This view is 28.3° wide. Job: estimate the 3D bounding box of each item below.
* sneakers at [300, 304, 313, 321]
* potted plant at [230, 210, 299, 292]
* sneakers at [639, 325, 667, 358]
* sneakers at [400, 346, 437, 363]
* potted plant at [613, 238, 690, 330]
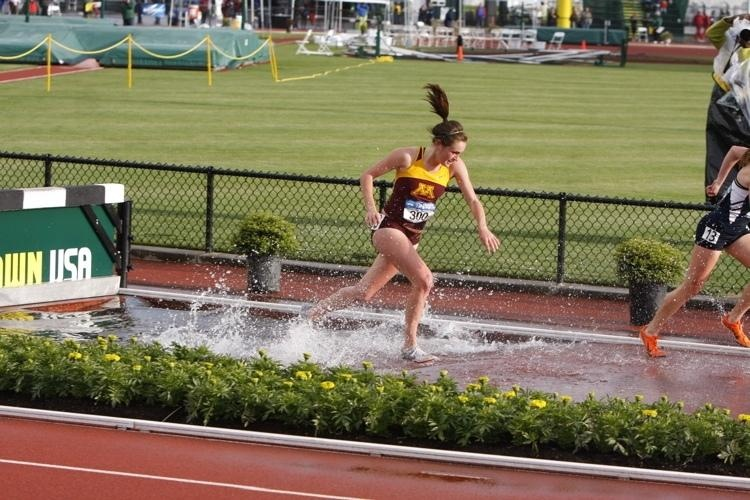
[{"bbox_3d":[-0.929,0.858,20.128,0.195,0.170,0.185,1,1,8],"label":"sneakers"},{"bbox_3d":[-1.615,0.040,22.041,1.082,1.132,1.085,8,-10,-37],"label":"potted plant"},{"bbox_3d":[3.691,1.288,19.915,0.215,0.522,0.227,-31,-6,-36],"label":"sneakers"},{"bbox_3d":[0.548,1.387,19.489,0.542,0.228,0.182,-3,6,-1],"label":"sneakers"},{"bbox_3d":[3.743,0.459,21.209,1.166,1.141,0.999,-1,-1,-23],"label":"potted plant"}]
